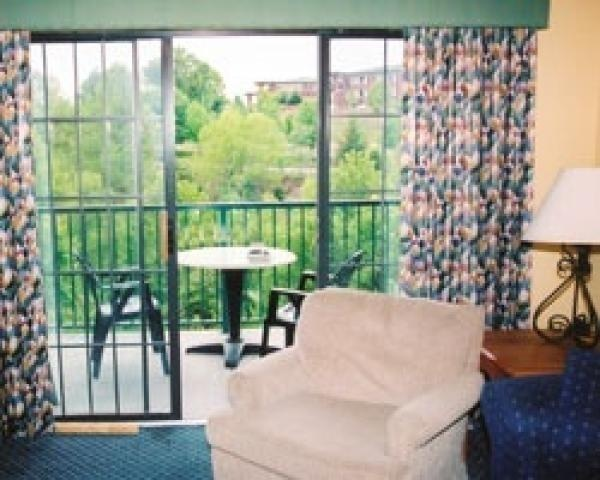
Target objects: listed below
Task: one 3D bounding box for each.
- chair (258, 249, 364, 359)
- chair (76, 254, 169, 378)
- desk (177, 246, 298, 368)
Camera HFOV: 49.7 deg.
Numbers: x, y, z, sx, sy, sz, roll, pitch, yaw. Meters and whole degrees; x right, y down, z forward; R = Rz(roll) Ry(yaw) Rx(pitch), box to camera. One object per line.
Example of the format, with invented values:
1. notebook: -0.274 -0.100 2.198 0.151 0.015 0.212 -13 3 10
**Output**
1. chair: -0.015 0.509 4.807 0.613 0.937 0.604 9 4 14
2. chair: -1.098 0.467 4.534 0.669 1.097 0.648 -1 3 -9
3. desk: -0.505 0.407 5.572 0.851 0.846 0.948 -1 13 -9
